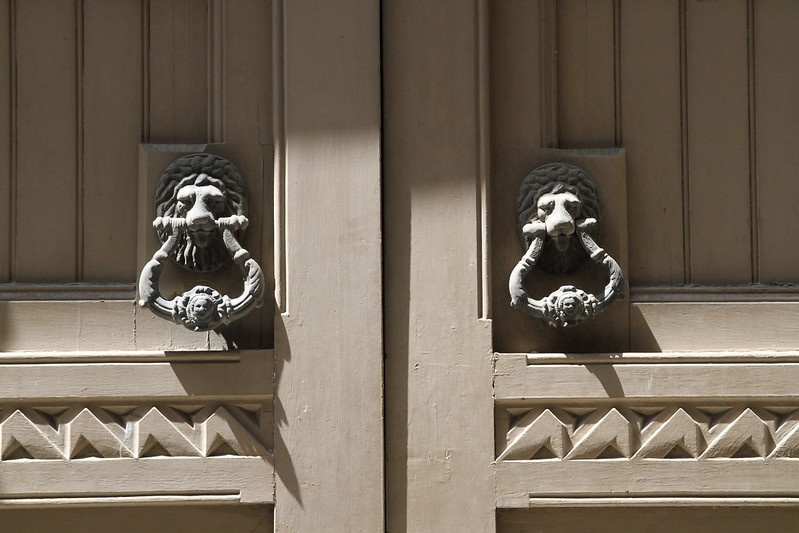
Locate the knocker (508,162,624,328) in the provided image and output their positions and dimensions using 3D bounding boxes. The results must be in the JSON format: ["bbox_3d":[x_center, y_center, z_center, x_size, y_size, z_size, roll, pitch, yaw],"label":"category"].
[{"bbox_3d":[0.341,-0.049,3.628,0.234,0.331,0.135,-3,-29,4],"label":"knocker"}]

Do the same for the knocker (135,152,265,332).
[{"bbox_3d":[-0.405,-0.048,3.603,0.248,0.358,0.151,7,-30,-14],"label":"knocker"}]
